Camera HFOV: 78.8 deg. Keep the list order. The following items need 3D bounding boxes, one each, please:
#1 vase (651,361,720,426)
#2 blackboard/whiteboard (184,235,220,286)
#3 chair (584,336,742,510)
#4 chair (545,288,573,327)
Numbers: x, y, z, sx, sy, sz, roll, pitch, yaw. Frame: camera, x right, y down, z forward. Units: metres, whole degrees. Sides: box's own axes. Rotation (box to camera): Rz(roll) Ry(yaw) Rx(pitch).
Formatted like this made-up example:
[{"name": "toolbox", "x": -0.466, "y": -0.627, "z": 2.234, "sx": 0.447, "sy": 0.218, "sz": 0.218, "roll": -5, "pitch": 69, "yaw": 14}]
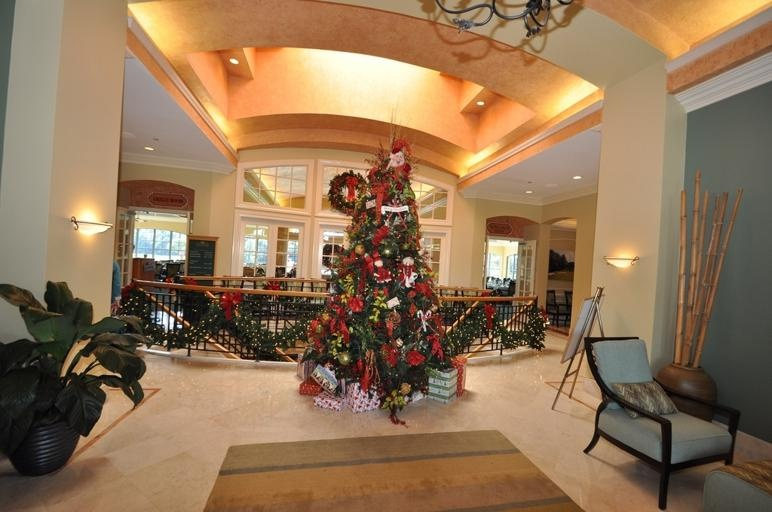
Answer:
[{"name": "vase", "x": 3.573, "y": 1.607, "z": 5.419, "sx": 0.512, "sy": 0.598, "sz": 0.489, "roll": -4, "pitch": -12, "yaw": 7}, {"name": "blackboard/whiteboard", "x": -4.123, "y": 0.125, "z": 10.464, "sx": 0.688, "sy": 1.246, "sz": 0.101, "roll": 4, "pitch": 23, "yaw": -20}, {"name": "chair", "x": 3.052, "y": 1.695, "z": 5.433, "sx": 1.312, "sy": 1.573, "sz": 1.734, "roll": 0, "pitch": -2, "yaw": -17}, {"name": "chair", "x": 4.668, "y": 1.404, "z": 12.775, "sx": 0.626, "sy": 1.030, "sz": 1.807, "roll": 3, "pitch": 0, "yaw": 20}]
